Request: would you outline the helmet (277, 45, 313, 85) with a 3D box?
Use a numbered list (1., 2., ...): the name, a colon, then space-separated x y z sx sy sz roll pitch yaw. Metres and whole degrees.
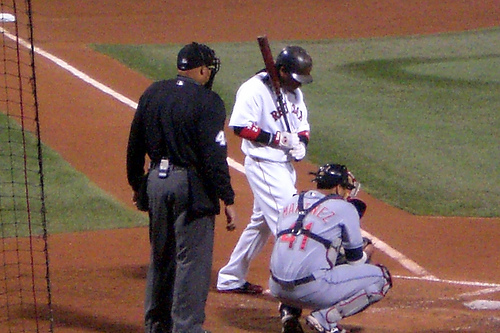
1. helmet: 0.778 -1.773 19.219 0.694 0.352 0.517 40 45 15
